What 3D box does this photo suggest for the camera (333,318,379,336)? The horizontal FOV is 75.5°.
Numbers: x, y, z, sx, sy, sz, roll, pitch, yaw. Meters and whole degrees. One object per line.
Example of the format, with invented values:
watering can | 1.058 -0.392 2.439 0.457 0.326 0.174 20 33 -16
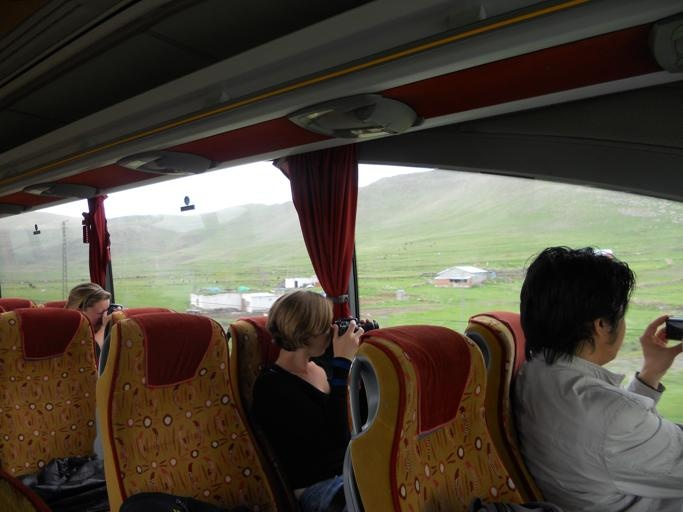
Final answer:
camera | 0.076 0.351 2.301 0.241 0.057 0.139 0 -2 -26
